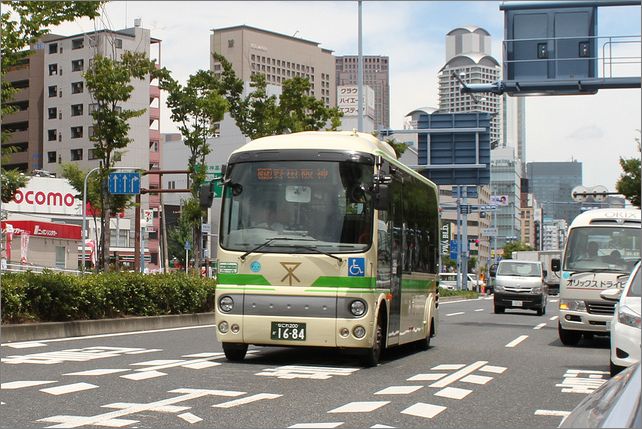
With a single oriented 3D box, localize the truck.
[{"bbox_3d":[8.209,2.947,35.156,1.507,1.479,2.937,-2,-11,15],"label":"truck"}]
